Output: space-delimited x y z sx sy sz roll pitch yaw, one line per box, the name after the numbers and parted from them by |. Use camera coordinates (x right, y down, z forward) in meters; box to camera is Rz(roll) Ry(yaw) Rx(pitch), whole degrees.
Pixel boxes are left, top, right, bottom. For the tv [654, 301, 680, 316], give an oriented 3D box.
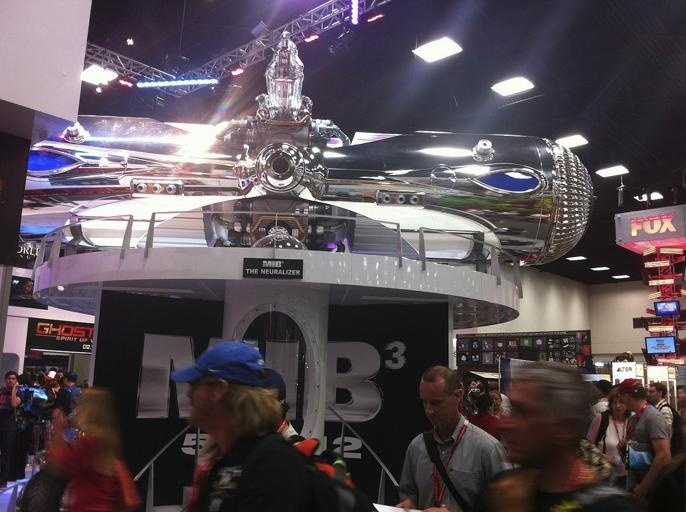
18.945 3.043 28.836 0.113 0.752 1.101 16 -14 -38 | tv

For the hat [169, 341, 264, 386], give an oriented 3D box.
-0.531 0.474 2.161 0.428 0.199 0.261 9 -12 -6 | hat
